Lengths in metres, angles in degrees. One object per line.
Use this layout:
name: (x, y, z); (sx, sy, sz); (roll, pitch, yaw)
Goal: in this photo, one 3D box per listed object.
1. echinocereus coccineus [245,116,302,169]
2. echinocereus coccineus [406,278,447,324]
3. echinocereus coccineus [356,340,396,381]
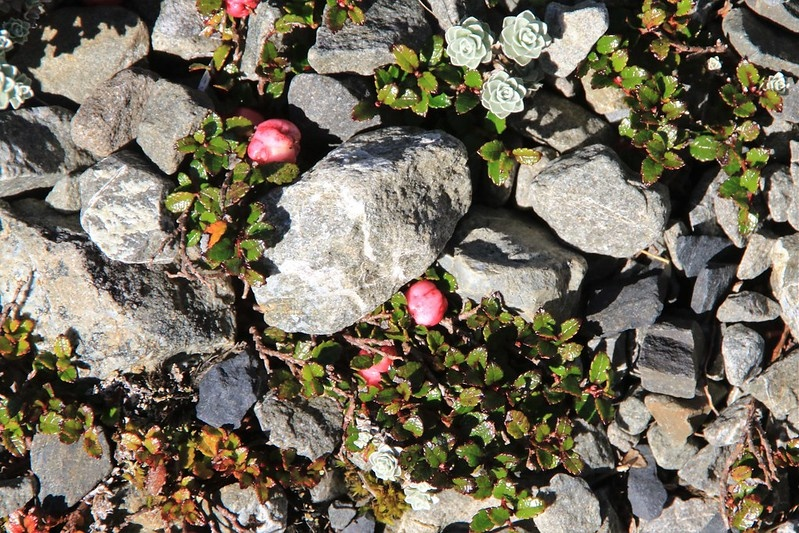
echinocereus coccineus: (-1.311, -1.264, 10.510); (0.539, 0.425, 0.478); (-3, 78, -5)
echinocereus coccineus: (0.246, 0.386, 10.640); (0.398, 0.399, 0.436); (-26, 89, -2)
echinocereus coccineus: (-0.211, 1.034, 10.637); (0.256, 0.215, 0.464); (45, 79, 6)
